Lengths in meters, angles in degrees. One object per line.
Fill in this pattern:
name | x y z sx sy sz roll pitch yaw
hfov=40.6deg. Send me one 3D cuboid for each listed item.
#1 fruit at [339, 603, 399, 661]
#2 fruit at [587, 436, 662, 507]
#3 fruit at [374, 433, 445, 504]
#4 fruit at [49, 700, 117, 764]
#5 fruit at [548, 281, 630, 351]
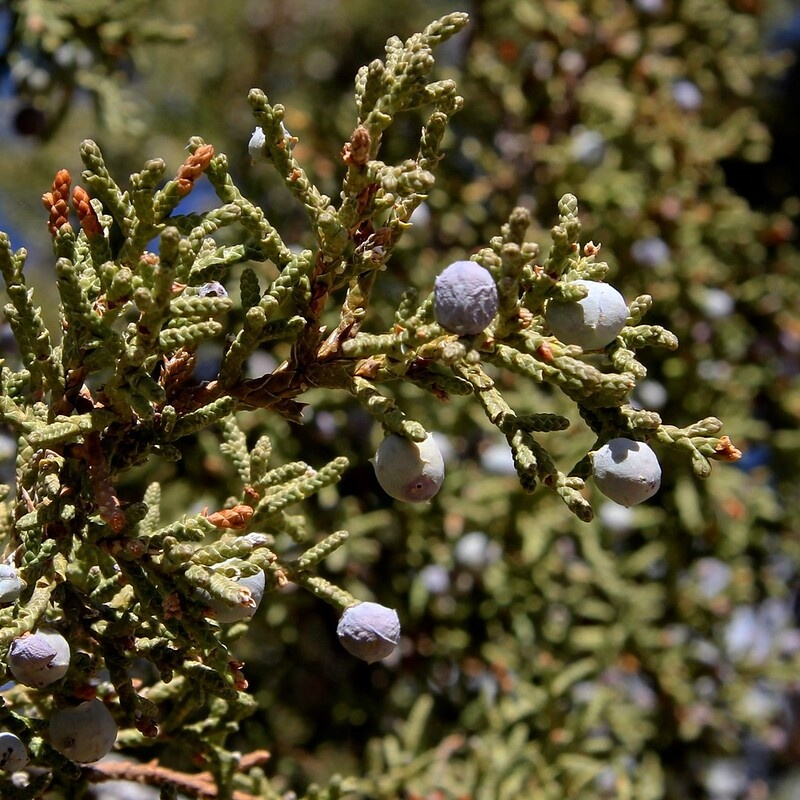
fruit | -0.062 0.461 2.148 0.139 0.094 0.108 7 20 -6
fruit | 0.435 0.134 2.066 0.123 0.092 0.129 -28 74 -5
fruit | 0.015 0.128 2.088 0.131 0.109 0.136 -12 73 0
fruit | -0.646 0.676 2.165 0.146 0.101 0.114 -20 73 -3
fruit | 0.350 -0.170 2.125 0.147 0.106 0.137 -27 49 -22
